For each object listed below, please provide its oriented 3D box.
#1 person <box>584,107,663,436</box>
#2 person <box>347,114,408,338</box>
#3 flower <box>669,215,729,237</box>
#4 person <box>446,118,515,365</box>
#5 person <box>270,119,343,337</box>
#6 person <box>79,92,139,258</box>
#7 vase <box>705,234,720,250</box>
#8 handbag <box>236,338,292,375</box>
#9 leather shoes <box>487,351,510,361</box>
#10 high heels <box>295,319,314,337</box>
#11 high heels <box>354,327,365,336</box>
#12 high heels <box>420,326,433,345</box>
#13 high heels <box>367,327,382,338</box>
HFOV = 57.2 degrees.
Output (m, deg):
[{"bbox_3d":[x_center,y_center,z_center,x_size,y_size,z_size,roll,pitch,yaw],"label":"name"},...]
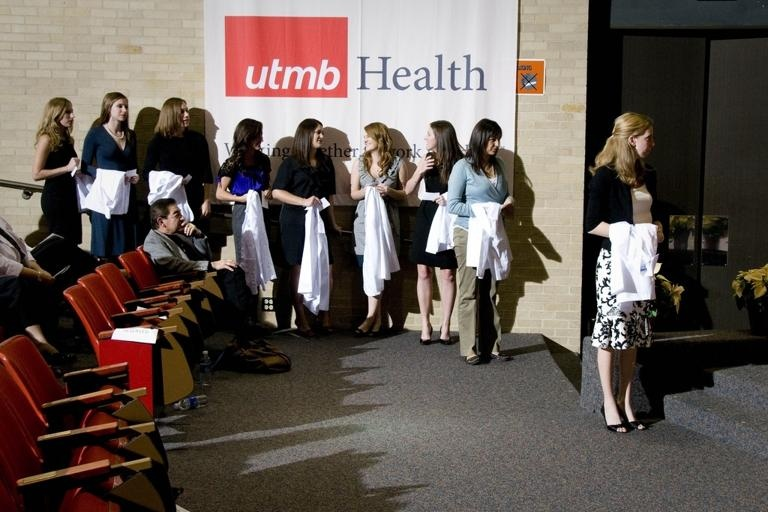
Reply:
[{"bbox_3d":[1.846,0.128,5.467,0.565,2.404,0.539,4,13,15],"label":"person"},{"bbox_3d":[-0.027,-0.277,7.638,0.604,2.278,0.667,-2,12,-9],"label":"person"},{"bbox_3d":[3.506,-0.347,7.821,0.629,0.219,0.056,2,12,3],"label":"flower"},{"bbox_3d":[0.930,-0.139,6.765,0.619,2.294,0.514,0,12,-2],"label":"person"},{"bbox_3d":[-0.812,-0.289,7.551,0.706,2.292,0.520,-3,13,-15],"label":"person"},{"bbox_3d":[-2.854,-0.828,7.371,0.559,1.715,0.477,-5,14,-24],"label":"person"},{"bbox_3d":[3.649,-0.165,7.832,0.142,0.181,0.152,5,11,29],"label":"vase"},{"bbox_3d":[-1.115,0.942,6.645,0.505,0.240,0.302,4,14,13],"label":"handbag"},{"bbox_3d":[1.142,0.987,6.948,0.214,0.101,0.084,-1,5,3],"label":"leather shoes"},{"bbox_3d":[-0.859,0.775,7.626,0.113,0.226,0.286,-11,9,-38],"label":"high heels"},{"bbox_3d":[-0.257,0.827,7.708,0.072,0.057,0.198,-3,6,-1],"label":"high heels"},{"bbox_3d":[0.458,0.849,7.462,0.121,0.195,0.403,0,-6,10],"label":"high heels"},{"bbox_3d":[-0.106,0.837,7.692,0.067,0.087,0.211,-1,-6,10],"label":"high heels"}]
